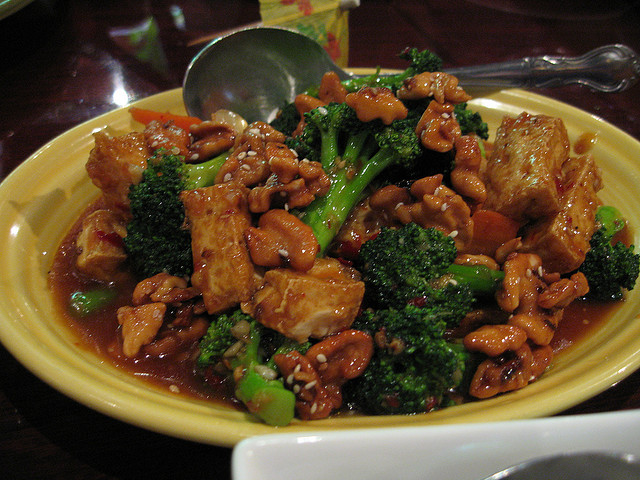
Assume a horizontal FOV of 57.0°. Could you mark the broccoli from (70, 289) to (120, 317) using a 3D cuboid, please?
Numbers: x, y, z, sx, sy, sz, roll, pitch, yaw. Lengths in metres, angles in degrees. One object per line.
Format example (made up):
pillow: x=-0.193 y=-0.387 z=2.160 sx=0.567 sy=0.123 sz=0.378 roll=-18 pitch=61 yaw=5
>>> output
broccoli: x=-1.385 y=0.374 z=3.641 sx=0.256 sy=0.090 sz=0.127 roll=-18 pitch=61 yaw=-18

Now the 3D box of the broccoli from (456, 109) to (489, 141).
broccoli: x=0.997 y=-0.759 z=4.000 sx=0.230 sy=0.139 sz=0.183 roll=9 pitch=74 yaw=-26
